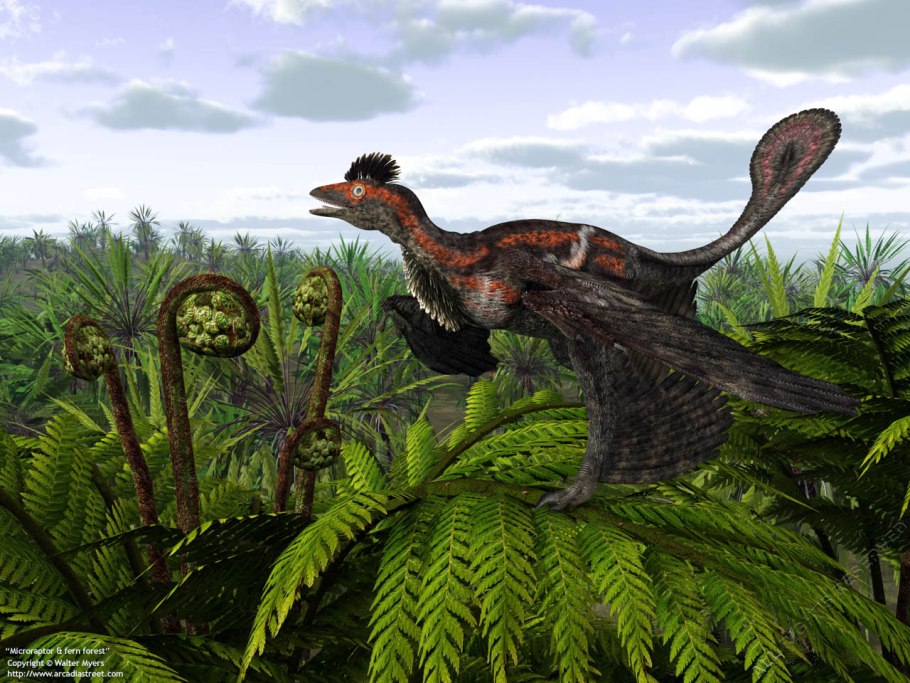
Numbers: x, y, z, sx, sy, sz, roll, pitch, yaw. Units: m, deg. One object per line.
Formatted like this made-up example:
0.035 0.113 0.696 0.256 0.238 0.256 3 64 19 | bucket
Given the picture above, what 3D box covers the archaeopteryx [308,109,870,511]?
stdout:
0.430 -0.066 2.424 1.621 1.139 1.184 3 13 19 | archaeopteryx
